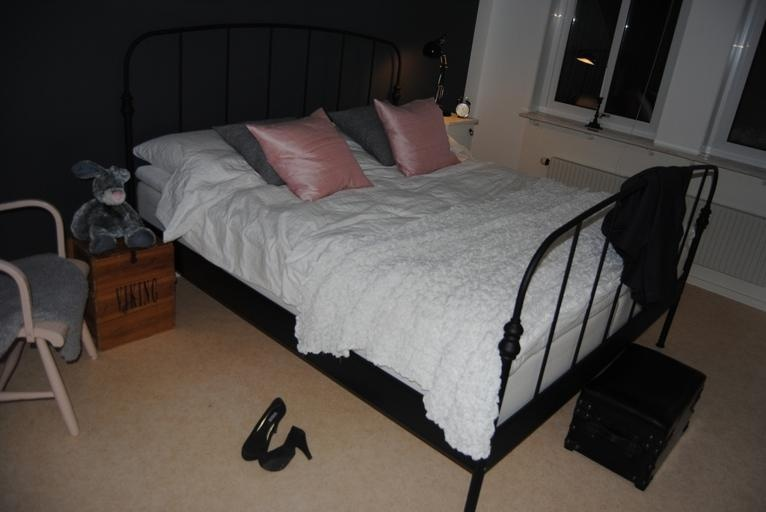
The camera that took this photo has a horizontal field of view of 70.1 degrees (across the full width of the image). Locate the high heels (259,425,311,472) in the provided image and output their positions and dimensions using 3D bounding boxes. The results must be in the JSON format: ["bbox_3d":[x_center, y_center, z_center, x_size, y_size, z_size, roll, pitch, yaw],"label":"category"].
[{"bbox_3d":[-0.495,0.995,2.766,0.128,0.103,0.254,36,34,23],"label":"high heels"}]

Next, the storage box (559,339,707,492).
[{"bbox_3d":[1.362,0.836,3.059,0.498,0.466,0.700,25,33,30],"label":"storage box"}]

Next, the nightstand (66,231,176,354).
[{"bbox_3d":[-1.545,0.146,3.450,0.630,0.635,0.638,-5,24,-21],"label":"nightstand"}]

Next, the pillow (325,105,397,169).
[{"bbox_3d":[-0.166,-0.797,3.816,0.408,0.132,0.445,-6,51,-44],"label":"pillow"}]

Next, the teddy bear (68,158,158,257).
[{"bbox_3d":[-1.543,-0.287,3.119,0.406,0.486,0.414,1,20,-20],"label":"teddy bear"}]

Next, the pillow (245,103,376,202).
[{"bbox_3d":[-0.444,-0.606,3.354,0.584,0.371,0.508,-22,35,-39],"label":"pillow"}]
